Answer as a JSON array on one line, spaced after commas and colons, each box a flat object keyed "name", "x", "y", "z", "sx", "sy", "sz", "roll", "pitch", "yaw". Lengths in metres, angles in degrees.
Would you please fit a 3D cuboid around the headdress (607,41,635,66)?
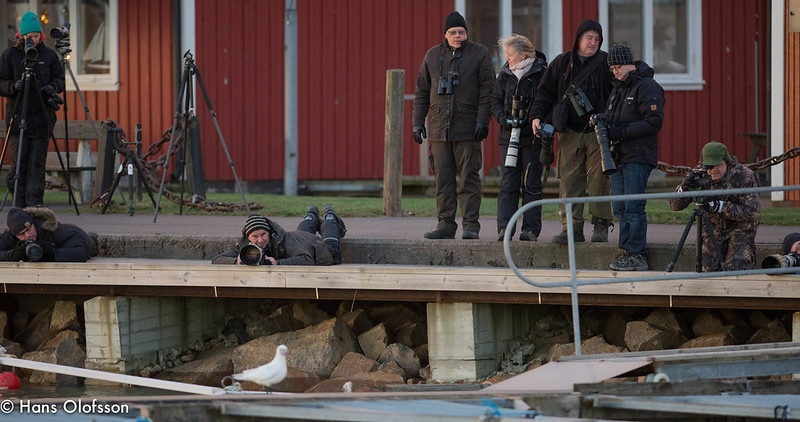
[{"name": "headdress", "x": 4.037, "y": -2.893, "z": 39.857, "sx": 0.448, "sy": 0.389, "sz": 0.396, "roll": -8, "pitch": 11, "yaw": -26}]

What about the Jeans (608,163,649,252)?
[{"name": "Jeans", "x": 4.249, "y": -0.089, "z": 39.990, "sx": 0.633, "sy": 1.669, "sz": 0.628, "roll": -1, "pitch": 1, "yaw": -20}]

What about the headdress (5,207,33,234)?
[{"name": "headdress", "x": -7.050, "y": 0.207, "z": 40.689, "sx": 0.487, "sy": 0.509, "sz": 0.299, "roll": -1, "pitch": 3, "yaw": -2}]

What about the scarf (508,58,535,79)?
[{"name": "scarf", "x": 2.321, "y": -2.690, "z": 40.789, "sx": 0.403, "sy": 0.206, "sz": 0.342, "roll": -33, "pitch": 5, "yaw": -26}]

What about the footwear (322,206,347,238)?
[{"name": "footwear", "x": -1.169, "y": 0.196, "z": 41.274, "sx": 0.271, "sy": 0.710, "sz": 0.292, "roll": -45, "pitch": -15, "yaw": 27}]

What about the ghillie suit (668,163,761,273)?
[{"name": "ghillie suit", "x": 5.890, "y": 0.206, "z": 39.708, "sx": 1.590, "sy": 2.462, "sz": 1.087, "roll": 2, "pitch": 1, "yaw": 31}]

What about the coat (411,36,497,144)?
[{"name": "coat", "x": 1.066, "y": -2.198, "z": 41.348, "sx": 1.024, "sy": 2.420, "sz": 1.451, "roll": 1, "pitch": 1, "yaw": 24}]

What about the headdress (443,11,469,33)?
[{"name": "headdress", "x": 1.038, "y": -3.573, "z": 40.975, "sx": 0.334, "sy": 0.340, "sz": 0.421, "roll": -3, "pitch": 13, "yaw": 3}]

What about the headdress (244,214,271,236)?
[{"name": "headdress", "x": -2.619, "y": 0.289, "z": 40.515, "sx": 0.538, "sy": 0.394, "sz": 0.238, "roll": -2, "pitch": 3, "yaw": -4}]

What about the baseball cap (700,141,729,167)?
[{"name": "baseball cap", "x": 5.753, "y": -1.026, "z": 39.663, "sx": 0.534, "sy": 0.425, "sz": 0.221, "roll": -1, "pitch": 3, "yaw": 7}]

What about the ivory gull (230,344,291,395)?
[{"name": "ivory gull", "x": -2.525, "y": 2.889, "z": 39.374, "sx": 1.049, "sy": 0.815, "sz": 0.469, "roll": -2, "pitch": 4, "yaw": 5}]
